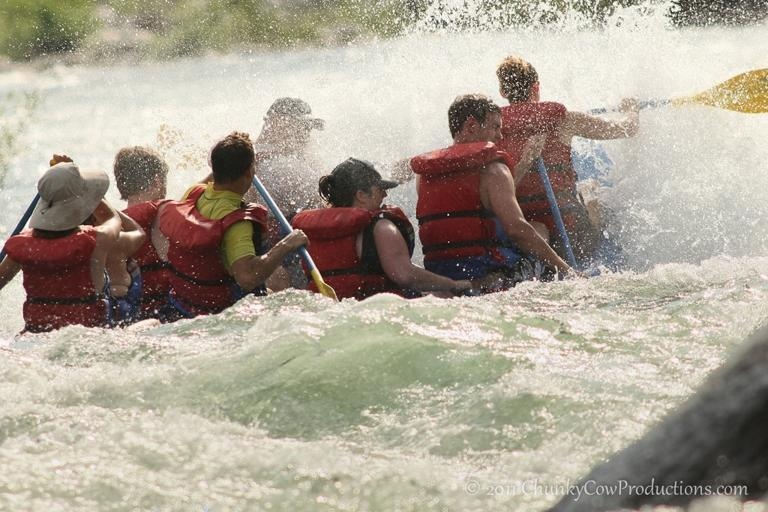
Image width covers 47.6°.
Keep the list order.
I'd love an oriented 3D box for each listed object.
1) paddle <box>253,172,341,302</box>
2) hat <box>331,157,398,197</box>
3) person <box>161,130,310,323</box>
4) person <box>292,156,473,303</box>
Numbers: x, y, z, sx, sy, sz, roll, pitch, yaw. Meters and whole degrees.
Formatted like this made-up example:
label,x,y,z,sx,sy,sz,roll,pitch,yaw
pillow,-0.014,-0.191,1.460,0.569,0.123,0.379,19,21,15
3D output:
label,x,y,z,sx,sy,sz,roll,pitch,yaw
paddle,-0.774,-0.135,7.573,0.182,0.117,1.635,-41,57,6
hat,-0.228,-0.628,7.332,0.489,0.272,0.291,-20,13,-4
person,-1.304,-0.251,6.912,1.096,1.382,0.609,0,17,21
person,-0.123,-0.204,7.244,1.316,1.163,0.619,-5,16,3
